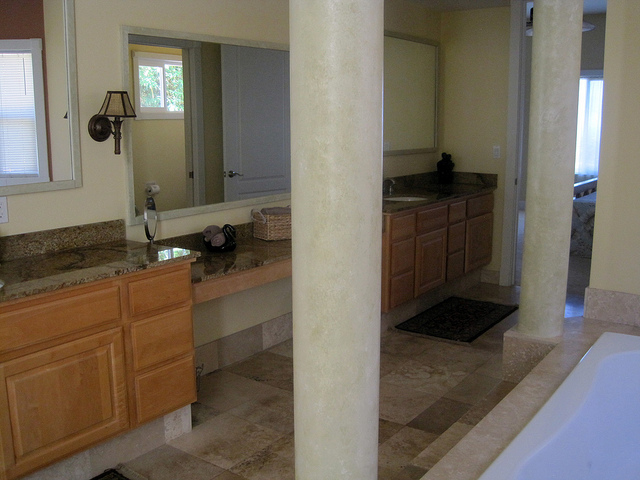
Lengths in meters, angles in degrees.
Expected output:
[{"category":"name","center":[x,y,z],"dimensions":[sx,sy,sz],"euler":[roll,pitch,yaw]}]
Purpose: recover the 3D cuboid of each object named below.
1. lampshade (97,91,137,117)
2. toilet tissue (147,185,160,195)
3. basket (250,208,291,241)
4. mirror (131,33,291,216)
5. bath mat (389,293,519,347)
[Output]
[{"category":"lampshade","center":[-1.215,-0.817,3.074],"dimensions":[0.160,0.107,0.173],"euler":[4,18,6]},{"category":"toilet tissue","center":[-1.101,-0.338,3.403],"dimensions":[0.059,0.062,0.062],"euler":[11,17,39]},{"category":"basket","center":[-0.352,-0.142,4.011],"dimensions":[0.246,0.214,0.347],"euler":[14,16,41]},{"category":"mirror","center":[-0.741,-0.841,3.713],"dimensions":[0.193,1.150,1.365],"euler":[13,19,42]},{"category":"bath mat","center":[1.376,0.746,5.003],"dimensions":[0.735,0.019,1.515],"euler":[6,9,36]}]
